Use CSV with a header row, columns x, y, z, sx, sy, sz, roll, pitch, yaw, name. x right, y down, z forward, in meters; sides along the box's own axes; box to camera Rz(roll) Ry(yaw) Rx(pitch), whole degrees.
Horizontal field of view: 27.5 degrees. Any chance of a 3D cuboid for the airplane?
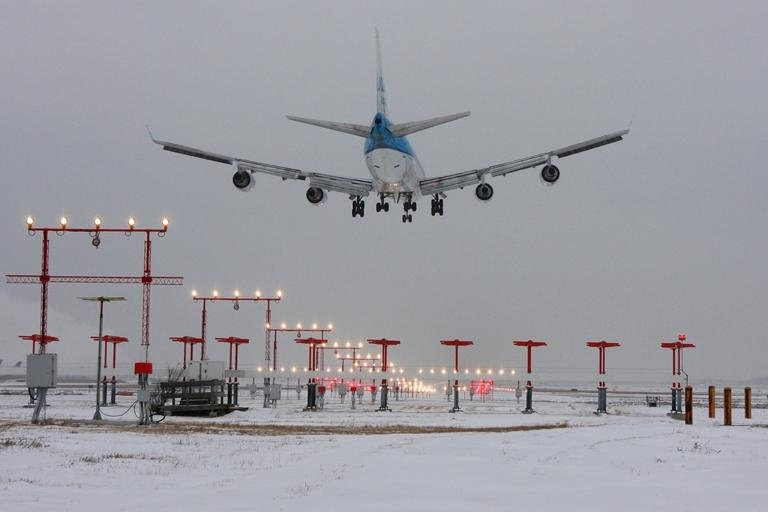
x,y,z,sx,sy,sz,roll,pitch,yaw,name
2.469,-6.132,100.256,22.466,6.609,18.946,-3,-13,22,airplane
